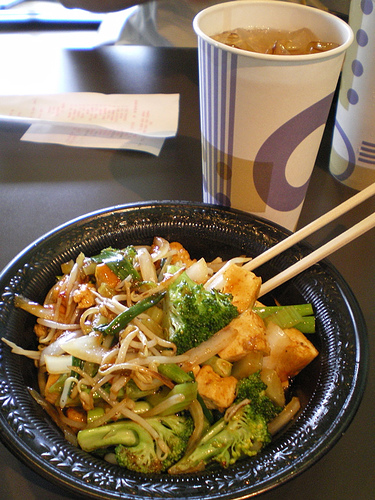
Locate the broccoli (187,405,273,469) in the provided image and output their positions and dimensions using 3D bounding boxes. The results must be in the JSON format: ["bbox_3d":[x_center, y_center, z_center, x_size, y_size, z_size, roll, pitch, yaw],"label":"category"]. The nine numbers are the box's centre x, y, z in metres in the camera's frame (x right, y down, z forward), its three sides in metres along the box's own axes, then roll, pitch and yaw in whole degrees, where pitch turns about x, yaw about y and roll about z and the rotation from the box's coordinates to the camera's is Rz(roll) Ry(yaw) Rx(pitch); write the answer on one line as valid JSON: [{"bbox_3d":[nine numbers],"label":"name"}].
[{"bbox_3d":[0.088,0.383,0.799,0.167,0.066,0.079,-34,65,-15],"label":"broccoli"}]

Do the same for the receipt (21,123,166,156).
[{"bbox_3d":[-0.395,-0.455,1.686,0.591,0.048,0.138,9,62,6],"label":"receipt"}]

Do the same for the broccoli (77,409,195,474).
[{"bbox_3d":[-0.115,0.374,0.844,0.245,0.186,0.070,14,88,-11],"label":"broccoli"}]

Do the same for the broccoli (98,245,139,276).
[{"bbox_3d":[-0.167,0.016,0.999,0.062,0.025,0.081,-17,47,-28],"label":"broccoli"}]

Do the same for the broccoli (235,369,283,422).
[{"bbox_3d":[0.143,0.312,0.878,0.086,0.025,0.091,-10,67,-48],"label":"broccoli"}]

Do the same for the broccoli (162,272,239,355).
[{"bbox_3d":[0.021,0.137,0.869,0.157,0.062,0.156,13,63,21],"label":"broccoli"}]

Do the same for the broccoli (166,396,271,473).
[{"bbox_3d":[0.072,0.380,0.804,0.160,0.047,0.102,-36,45,-16],"label":"broccoli"}]
